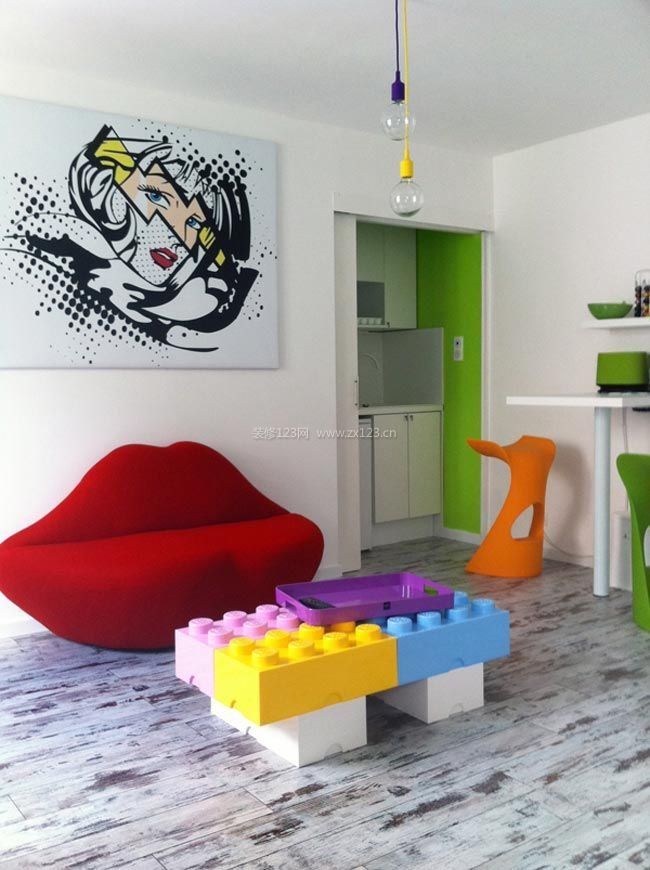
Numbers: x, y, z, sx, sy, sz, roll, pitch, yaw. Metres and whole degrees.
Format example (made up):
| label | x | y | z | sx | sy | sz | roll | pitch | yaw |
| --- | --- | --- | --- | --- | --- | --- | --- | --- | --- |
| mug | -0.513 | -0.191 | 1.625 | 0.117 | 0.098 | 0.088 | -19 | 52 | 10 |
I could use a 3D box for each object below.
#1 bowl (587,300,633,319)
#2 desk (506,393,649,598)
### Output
| label | x | y | z | sx | sy | sz | roll | pitch | yaw |
| --- | --- | --- | --- | --- | --- | --- | --- | --- | --- |
| bowl | 1.514 | -0.656 | 3.902 | 0.145 | 0.060 | 0.143 | 1 | 4 | 0 |
| desk | 1.525 | 0.251 | 4.075 | 0.914 | 1.392 | 0.914 | 1 | 4 | 27 |
